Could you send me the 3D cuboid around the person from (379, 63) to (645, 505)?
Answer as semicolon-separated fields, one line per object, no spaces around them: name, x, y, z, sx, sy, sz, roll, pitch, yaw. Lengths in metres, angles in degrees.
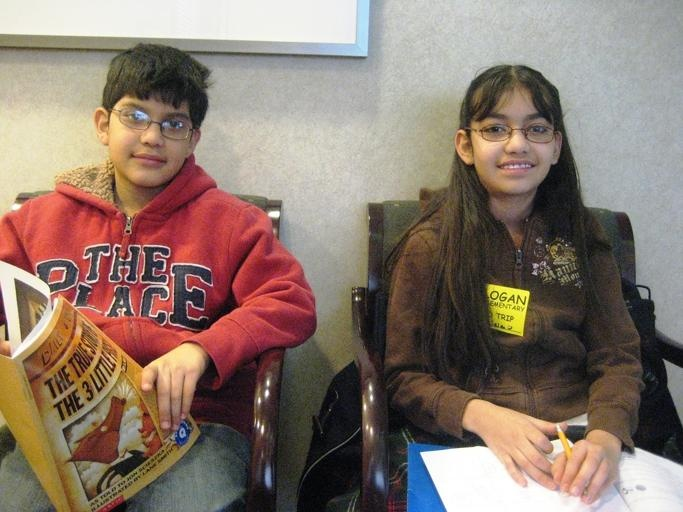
person;0.437;-0.001;1.333;0.648;0.968;0.500;2;7;4
